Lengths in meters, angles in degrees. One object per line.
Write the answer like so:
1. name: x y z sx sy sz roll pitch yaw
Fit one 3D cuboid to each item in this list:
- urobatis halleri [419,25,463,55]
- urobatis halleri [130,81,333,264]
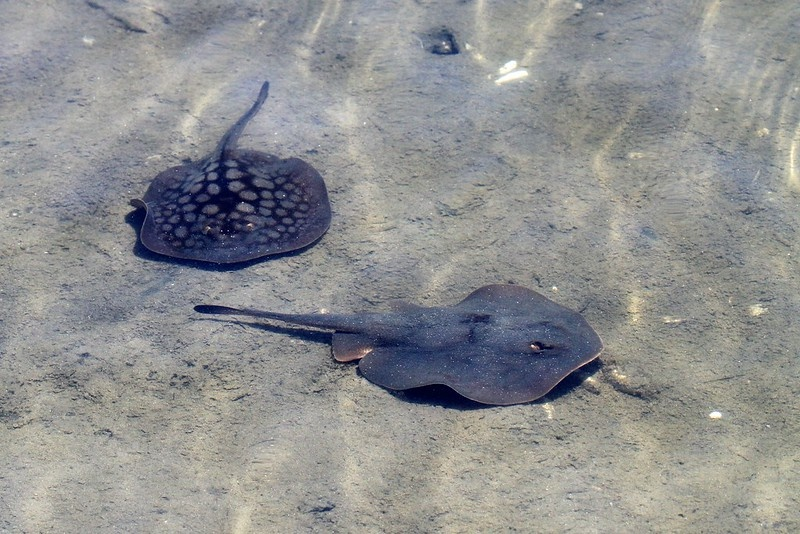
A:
1. urobatis halleri: 0.481 -2.713 12.486 0.404 0.080 0.421 -14 73 0
2. urobatis halleri: -1.734 -0.627 10.990 1.928 0.525 1.267 -19 73 -2
